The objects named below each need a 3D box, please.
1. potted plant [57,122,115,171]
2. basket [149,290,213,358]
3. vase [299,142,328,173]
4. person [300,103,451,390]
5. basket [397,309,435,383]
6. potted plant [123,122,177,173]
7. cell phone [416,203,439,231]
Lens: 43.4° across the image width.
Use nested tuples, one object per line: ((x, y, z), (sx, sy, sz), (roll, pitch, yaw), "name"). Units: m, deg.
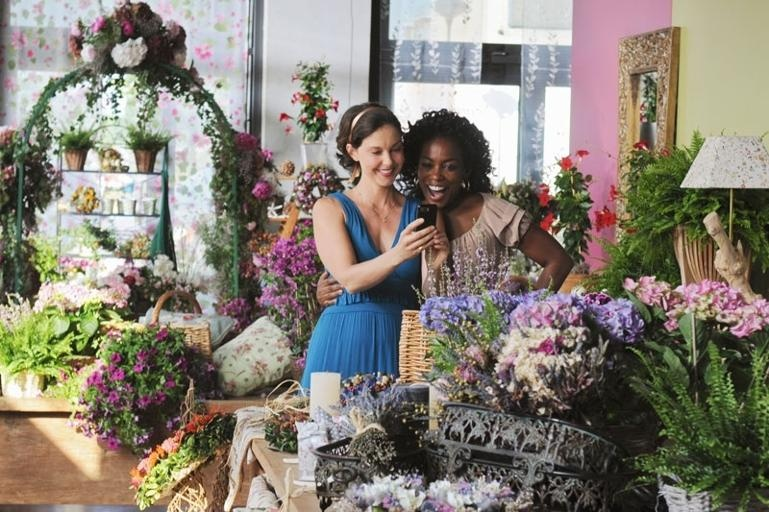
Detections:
((-2.492, -0.891, 8.014), (0.331, 0.389, 0.369), (1, 0, -31), "potted plant")
((-1.444, 0.453, 6.851), (0.433, 0.487, 0.342), (-5, 17, -4), "basket")
((-0.590, -0.852, 8.147), (0.252, 0.326, 0.284), (0, 14, 1), "vase")
((-0.093, -0.048, 5.324), (0.719, 1.566, 0.537), (1, 4, 7), "person")
((0.143, 0.437, 4.712), (0.256, 0.414, 0.272), (1, -4, 4), "basket")
((-2.021, -0.898, 8.188), (0.310, 0.395, 0.356), (-1, -5, -37), "potted plant")
((0.236, -0.203, 5.129), (0.103, 0.222, 0.117), (3, 4, 21), "cell phone")
